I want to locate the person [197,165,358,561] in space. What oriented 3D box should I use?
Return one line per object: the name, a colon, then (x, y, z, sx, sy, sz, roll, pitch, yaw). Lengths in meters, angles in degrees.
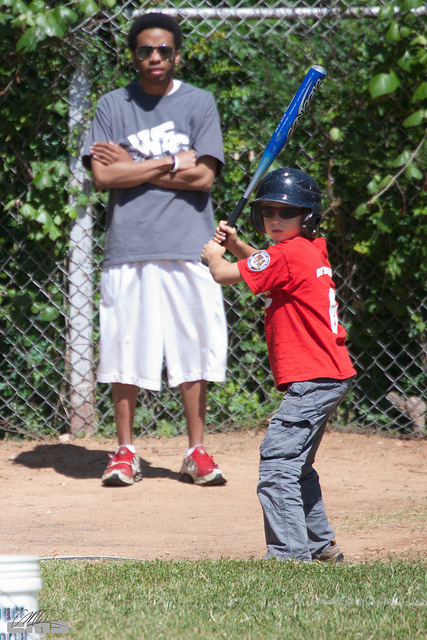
person: (0.235, 0.122, 2.249, 0.398, 1.259, 0.394, -6, -4, -1)
